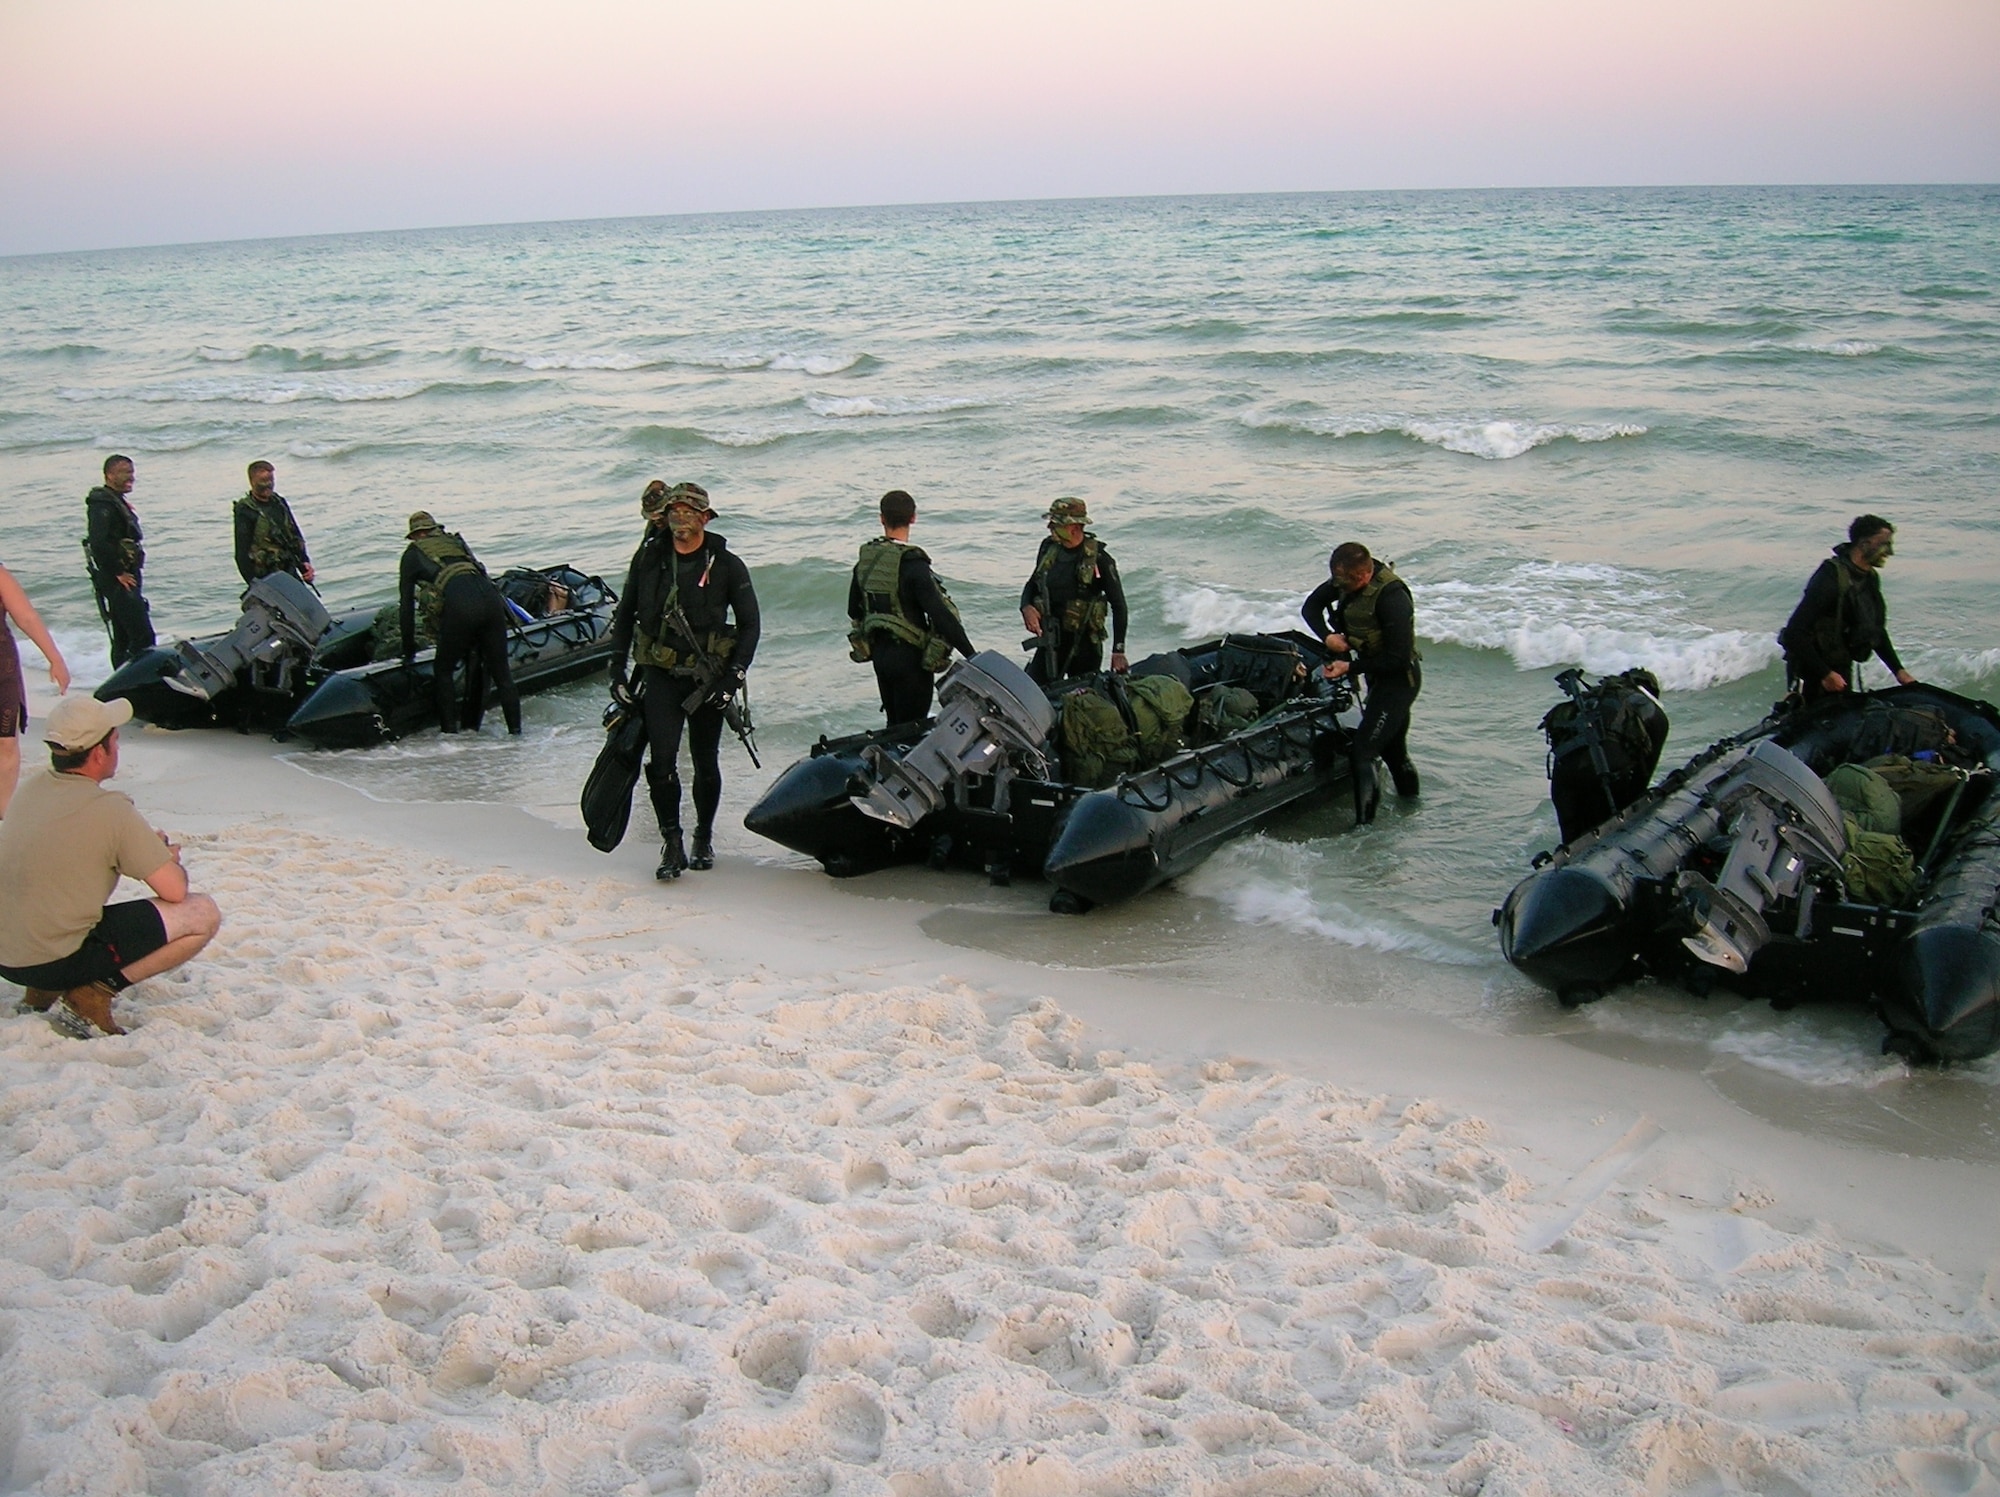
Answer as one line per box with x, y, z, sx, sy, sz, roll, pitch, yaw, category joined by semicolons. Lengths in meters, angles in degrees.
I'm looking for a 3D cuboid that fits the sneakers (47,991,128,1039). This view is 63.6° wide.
-3.358;0.979;5.920;0.162;0.167;0.062;-25;23;7;sneakers

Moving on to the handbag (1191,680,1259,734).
1.223;-0.227;9.182;0.370;0.109;0.354;7;18;25;handbag

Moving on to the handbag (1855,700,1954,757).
4.672;-0.097;8.439;0.384;0.127;0.356;5;21;16;handbag

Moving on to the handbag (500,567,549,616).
-3.763;-1.223;12.826;0.486;0.182;0.502;6;22;-12;handbag

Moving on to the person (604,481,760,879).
-1.621;-0.223;8.328;0.738;1.973;0.512;-6;26;-10;person

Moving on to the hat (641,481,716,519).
-1.672;-1.277;8.226;0.450;0.168;0.462;1;2;4;hat

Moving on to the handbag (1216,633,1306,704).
1.547;-0.478;9.858;0.493;0.177;0.490;9;24;4;handbag

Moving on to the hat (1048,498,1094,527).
0.358;-1.363;9.374;0.325;0.156;0.185;1;9;-2;hat

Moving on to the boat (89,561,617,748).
-3.873;-0.783;11.940;4.266;0.856;1.998;-6;9;-3;boat

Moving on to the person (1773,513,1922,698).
4.602;-0.756;8.867;0.587;1.062;0.784;12;26;26;person

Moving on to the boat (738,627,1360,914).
0.456;0.024;8.901;2.959;1.310;1.863;-17;26;-42;boat

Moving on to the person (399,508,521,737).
-3.721;-0.826;11.093;0.855;1.539;0.629;-10;0;8;person
